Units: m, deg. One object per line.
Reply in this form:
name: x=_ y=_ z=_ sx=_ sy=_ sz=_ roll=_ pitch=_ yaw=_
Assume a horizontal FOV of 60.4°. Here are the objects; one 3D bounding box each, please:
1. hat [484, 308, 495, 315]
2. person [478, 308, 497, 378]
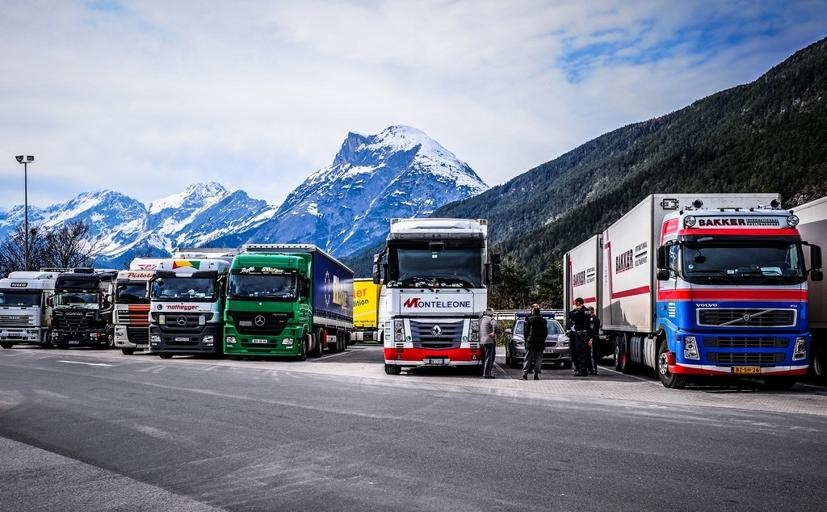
hat: x=2.597 y=1.889 z=23.995 sx=0.312 sy=0.212 sz=0.407 roll=1 pitch=-3 yaw=0
person: x=2.532 y=2.985 z=24.156 sx=0.501 sy=2.311 sz=1.339 roll=-1 pitch=-9 yaw=5
